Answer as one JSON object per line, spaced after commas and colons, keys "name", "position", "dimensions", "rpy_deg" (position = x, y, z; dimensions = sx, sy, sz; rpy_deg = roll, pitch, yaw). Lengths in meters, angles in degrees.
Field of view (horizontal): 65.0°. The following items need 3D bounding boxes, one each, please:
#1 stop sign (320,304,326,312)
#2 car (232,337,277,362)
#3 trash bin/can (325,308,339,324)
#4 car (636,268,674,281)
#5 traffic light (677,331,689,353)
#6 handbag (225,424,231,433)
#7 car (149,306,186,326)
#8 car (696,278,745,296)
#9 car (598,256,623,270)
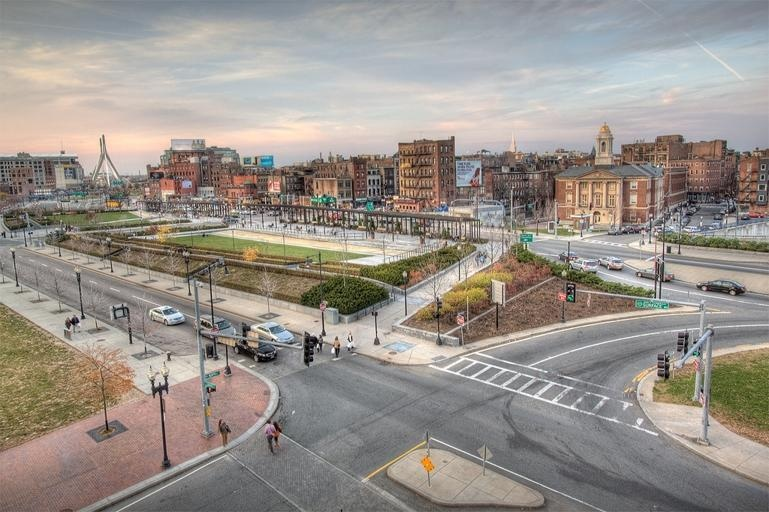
{"name": "stop sign", "position": [-6.544, 5.392, 63.902], "dimensions": [0.810, 0.764, 0.259], "rpy_deg": [0, 3, -9]}
{"name": "car", "position": [-12.261, 8.801, 58.673], "dimensions": [2.802, 2.416, 4.870], "rpy_deg": [-9, 11, -36]}
{"name": "trash bin/can", "position": [-5.899, 6.544, 66.926], "dimensions": [1.446, 1.703, 1.128], "rpy_deg": [2, 11, 23]}
{"name": "car", "position": [35.381, 2.437, 79.513], "dimensions": [1.958, 1.125, 3.460], "rpy_deg": [-5, 11, -43]}
{"name": "traffic light", "position": [22.721, 6.503, 45.867], "dimensions": [1.013, 1.579, 0.500], "rpy_deg": [-11, 13, -40]}
{"name": "handbag", "position": [-12.207, 13.417, 46.829], "dimensions": [0.292, 0.801, 0.498], "rpy_deg": [-22, 35, -9]}
{"name": "car", "position": [-24.590, 6.684, 68.454], "dimensions": [4.323, 1.621, 2.193], "rpy_deg": [5, 12, 40]}
{"name": "car", "position": [40.746, 3.719, 72.554], "dimensions": [4.158, 1.307, 1.817], "rpy_deg": [6, 6, 37]}
{"name": "car", "position": [32.528, 1.058, 86.221], "dimensions": [2.227, 1.436, 3.613], "rpy_deg": [-6, 9, -22]}
